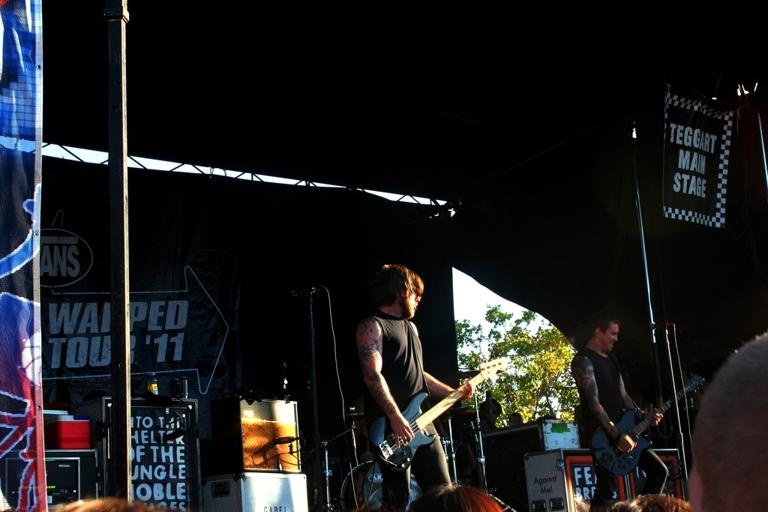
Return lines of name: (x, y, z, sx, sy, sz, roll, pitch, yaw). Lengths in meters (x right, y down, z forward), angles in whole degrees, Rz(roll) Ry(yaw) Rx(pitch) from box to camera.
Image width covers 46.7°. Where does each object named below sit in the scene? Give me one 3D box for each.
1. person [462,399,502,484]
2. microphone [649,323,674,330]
person: (1.388, 2.707, 12.798, 0.644, 0.541, 2.111, 1, -59, 7)
microphone: (3.298, 0.837, 10.562, 0.224, 0.081, 0.173, -2, -5, 10)
